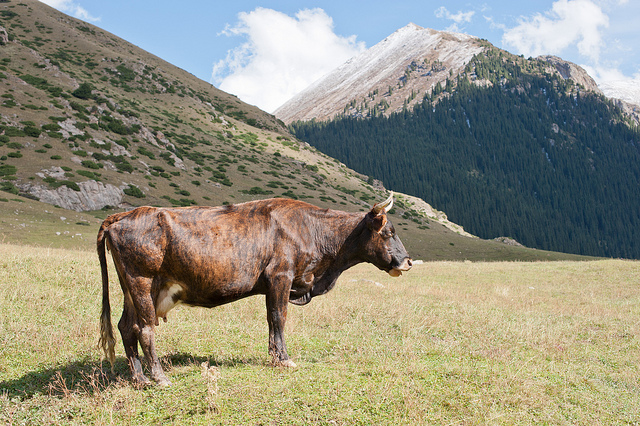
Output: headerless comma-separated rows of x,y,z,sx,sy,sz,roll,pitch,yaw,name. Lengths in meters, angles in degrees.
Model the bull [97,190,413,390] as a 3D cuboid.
-2.370,3.172,23.284,12.767,7.315,3.854,0,-2,-13,bull
